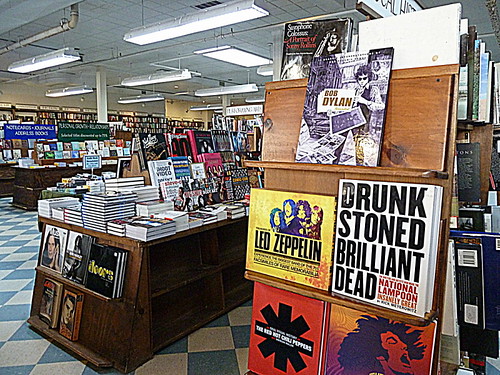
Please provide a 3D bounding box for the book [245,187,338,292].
[{"bbox_3d":[0.218,0.251,1.880,0.541,0.462,0.060,4,1,42],"label":"book"}]

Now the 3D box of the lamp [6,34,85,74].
[{"bbox_3d":[-4.913,-3.090,8.373,2.508,0.332,0.360,6,12,34],"label":"lamp"}]
